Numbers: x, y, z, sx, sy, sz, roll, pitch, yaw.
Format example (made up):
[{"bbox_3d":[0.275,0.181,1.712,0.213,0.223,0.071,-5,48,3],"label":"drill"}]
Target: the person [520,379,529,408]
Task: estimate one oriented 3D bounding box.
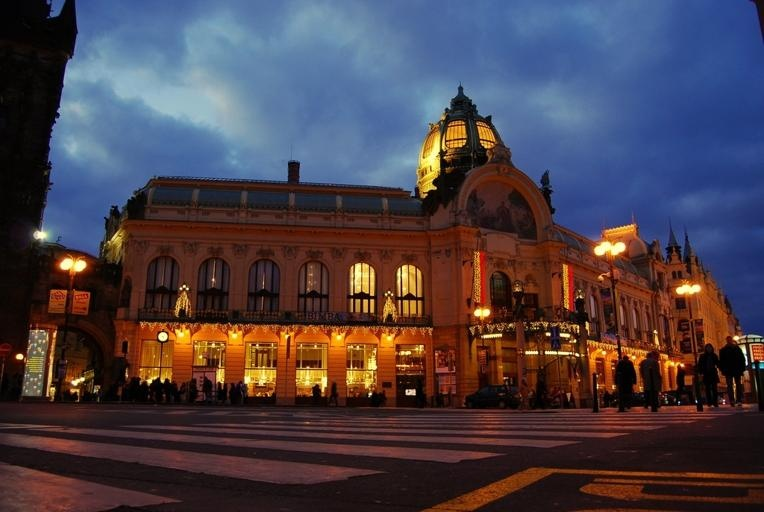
[{"bbox_3d":[7.219,6.937,30.395,0.382,1.352,1.728,-5,-17,11],"label":"person"}]
